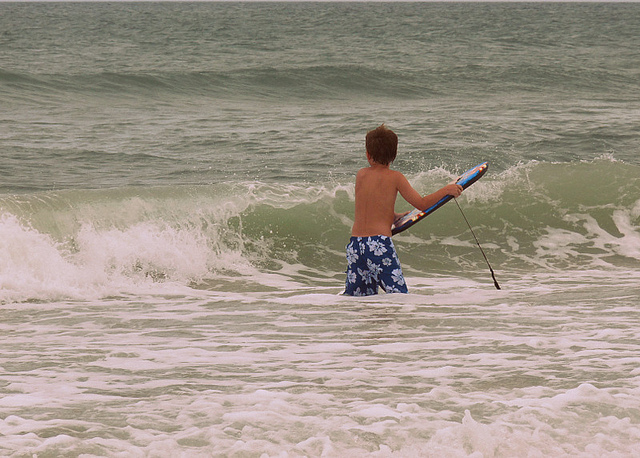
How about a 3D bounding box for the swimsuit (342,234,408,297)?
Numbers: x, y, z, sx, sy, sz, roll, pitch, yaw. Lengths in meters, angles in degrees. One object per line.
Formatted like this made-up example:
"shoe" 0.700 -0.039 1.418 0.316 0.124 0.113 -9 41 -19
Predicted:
"swimsuit" 0.906 0.623 15.786 0.747 0.904 1.351 0 -2 -42
